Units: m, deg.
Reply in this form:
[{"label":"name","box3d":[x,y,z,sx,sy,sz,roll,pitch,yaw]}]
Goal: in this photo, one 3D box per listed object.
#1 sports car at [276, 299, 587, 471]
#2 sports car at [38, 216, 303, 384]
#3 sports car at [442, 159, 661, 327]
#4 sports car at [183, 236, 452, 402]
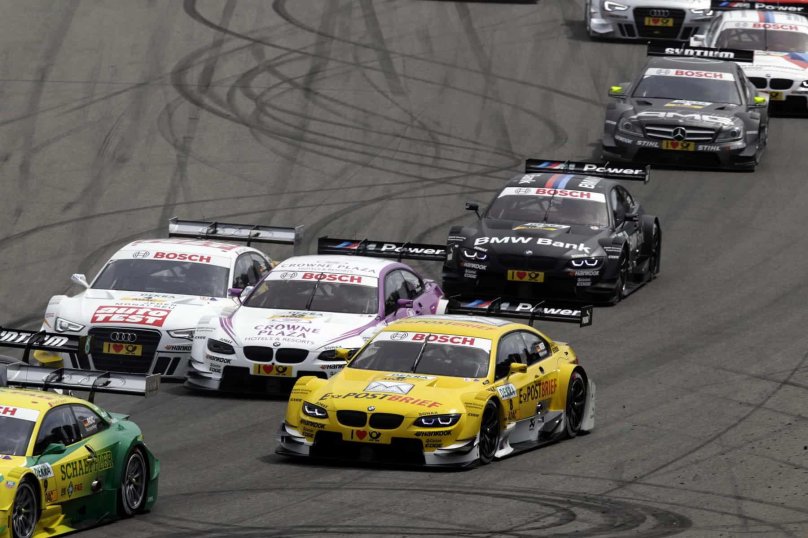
[{"label":"sports car","box3d":[0.604,1.247,13.199,2.624,1.034,3.926,7,15,31]},{"label":"sports car","box3d":[-3.532,0.229,17.019,3.350,1.164,4.415,4,18,13]},{"label":"sports car","box3d":[2.764,-0.916,19.189,3.562,1.343,4.760,10,22,19]},{"label":"sports car","box3d":[-1.165,0.531,16.314,3.167,1.189,4.468,6,17,15]}]
